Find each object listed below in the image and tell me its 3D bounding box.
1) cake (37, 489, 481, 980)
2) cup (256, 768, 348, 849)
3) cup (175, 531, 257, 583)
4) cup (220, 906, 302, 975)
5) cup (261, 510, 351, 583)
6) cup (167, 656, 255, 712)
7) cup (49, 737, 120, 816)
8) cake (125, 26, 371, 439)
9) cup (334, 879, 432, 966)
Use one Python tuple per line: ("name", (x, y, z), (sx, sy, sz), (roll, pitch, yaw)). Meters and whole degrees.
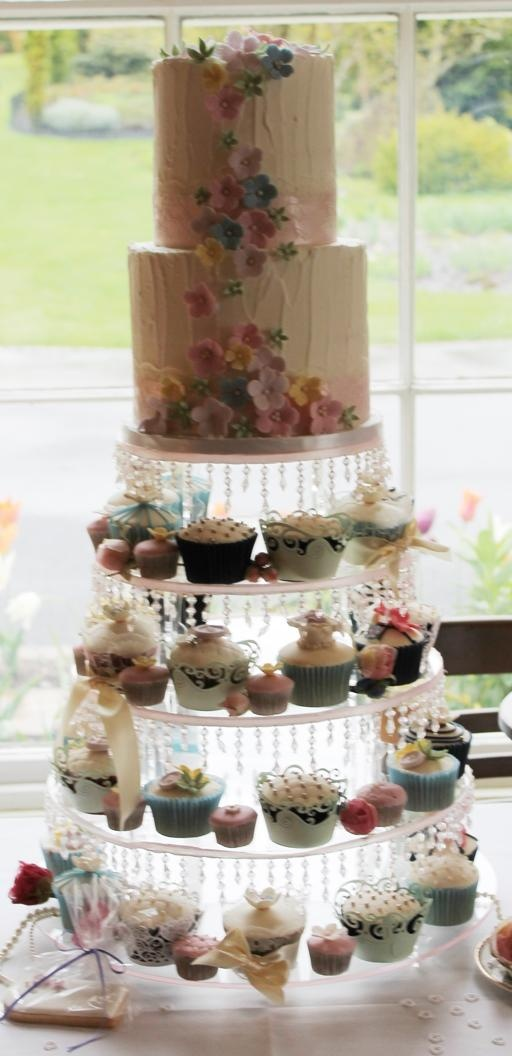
("cake", (0.033, 0.314, 1.885), (0.734, 0.680, 0.758), (0, 9, 4))
("cup", (0.072, 0.447, 1.609), (0.141, 0.106, 0.141), (-2, 4, 0))
("cup", (-0.066, 0.050, 1.517), (0.090, 0.055, 0.091), (0, -2, 0))
("cup", (0.014, 0.651, 1.590), (0.117, 0.118, 0.118), (-2, -4, 0))
("cup", (0.074, 0.031, 1.514), (0.109, 0.079, 0.112), (-1, -1, 0))
("cup", (-0.079, 0.244, 1.536), (0.095, 0.061, 0.090), (1, 2, 0))
("cup", (-0.290, 0.416, 1.681), (0.114, 0.110, 0.121), (-2, -9, 0))
("cake", (-0.012, -0.495, 1.655), (0.419, 0.598, 0.410), (14, 24, 39))
("cup", (0.206, 0.629, 1.601), (0.119, 0.085, 0.128), (0, -8, 0))
